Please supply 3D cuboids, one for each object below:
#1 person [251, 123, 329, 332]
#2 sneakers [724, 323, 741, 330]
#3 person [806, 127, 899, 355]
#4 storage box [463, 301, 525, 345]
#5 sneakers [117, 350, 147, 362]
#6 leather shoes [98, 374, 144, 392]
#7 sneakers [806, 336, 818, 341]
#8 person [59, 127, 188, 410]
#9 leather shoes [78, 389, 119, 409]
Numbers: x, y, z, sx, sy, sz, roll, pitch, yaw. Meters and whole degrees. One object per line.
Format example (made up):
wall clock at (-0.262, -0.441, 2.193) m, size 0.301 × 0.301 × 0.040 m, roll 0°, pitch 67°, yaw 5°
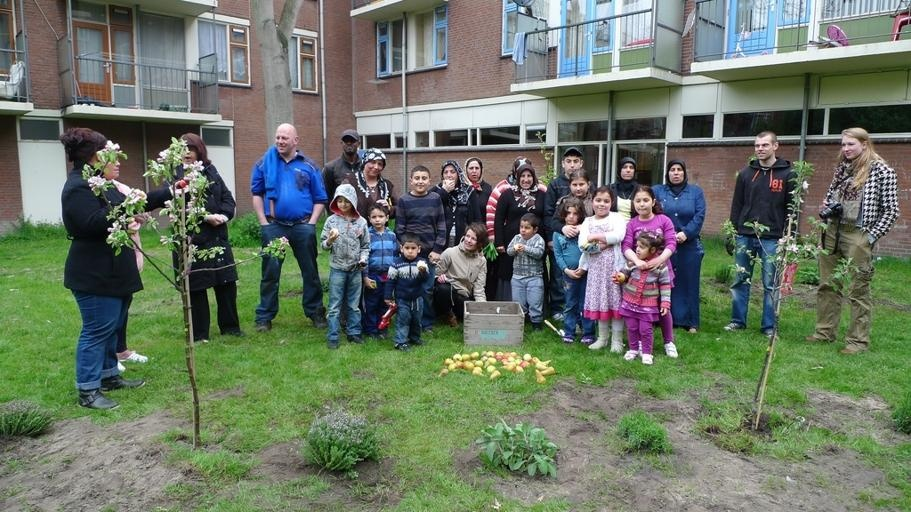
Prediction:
person at (-2.923, -0.500, 11.463) m, size 1.305 × 3.546 × 0.727 m, roll -4°, pitch 9°, yaw -16°
sneakers at (4.917, 1.240, 11.636) m, size 0.338 × 0.134 × 0.121 m, roll 1°, pitch -1°, yaw -1°
person at (6.502, -0.257, 10.748) m, size 1.090 × 3.591 × 0.639 m, roll 3°, pitch 10°, yaw 28°
storage box at (0.613, 1.157, 11.282) m, size 1.022 × 0.538 × 0.717 m, roll 1°, pitch 11°, yaw -1°
sneakers at (-5.179, 1.585, 10.518) m, size 0.440 × 0.173 × 0.165 m, roll 0°, pitch 7°, yaw -9°
leather shoes at (-5.005, 1.873, 9.927) m, size 0.660 × 0.264 × 0.213 m, roll -4°, pitch 12°, yaw -21°
sneakers at (6.033, 1.389, 11.149) m, size 0.179 × 0.074 × 0.063 m, roll 11°, pitch 13°, yaw 11°
person at (-5.207, 0.163, 9.481) m, size 1.136 × 3.978 × 0.909 m, roll -3°, pitch 9°, yaw -13°
leather shoes at (-5.173, 2.042, 9.461) m, size 0.661 × 0.261 × 0.232 m, roll 2°, pitch 0°, yaw 3°
